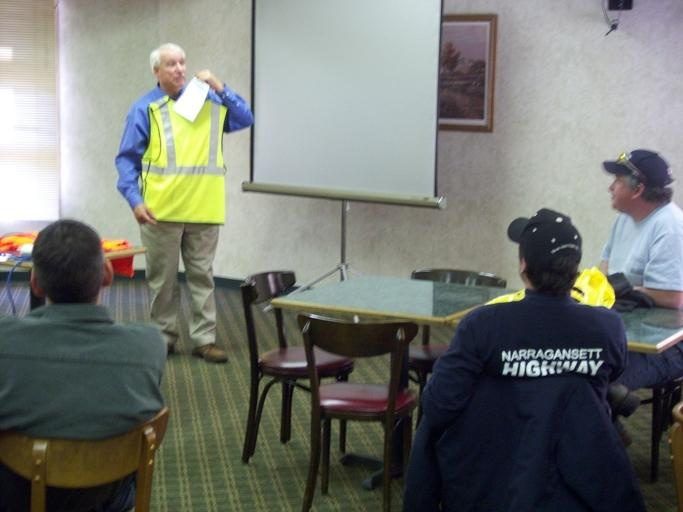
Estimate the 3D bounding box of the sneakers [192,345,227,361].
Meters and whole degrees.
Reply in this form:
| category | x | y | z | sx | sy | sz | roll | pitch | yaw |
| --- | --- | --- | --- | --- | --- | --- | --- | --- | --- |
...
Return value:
| category | x | y | z | sx | sy | sz | roll | pitch | yaw |
| --- | --- | --- | --- | --- | --- | --- | --- | --- | --- |
| sneakers | -0.958 | 0.711 | 4.410 | 0.221 | 0.106 | 0.123 | 2 | 6 | 25 |

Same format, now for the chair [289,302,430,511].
| category | x | y | z | sx | sy | sz | roll | pitch | yaw |
| --- | --- | --- | --- | --- | --- | --- | --- | --- | --- |
| chair | 0.064 | 0.640 | 2.918 | 0.650 | 1.197 | 0.777 | 2 | 6 | 12 |

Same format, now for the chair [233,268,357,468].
| category | x | y | z | sx | sy | sz | roll | pitch | yaw |
| --- | --- | --- | --- | --- | --- | --- | --- | --- | --- |
| chair | -0.238 | 0.628 | 3.230 | 0.573 | 0.920 | 0.626 | 1 | -3 | -7 |
